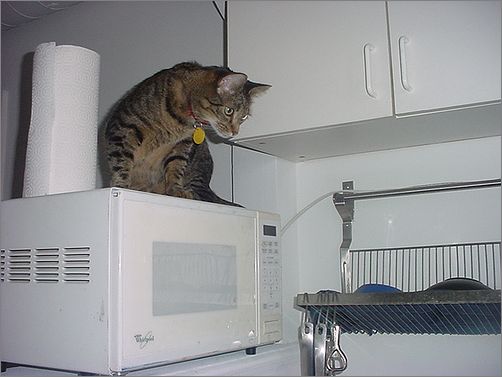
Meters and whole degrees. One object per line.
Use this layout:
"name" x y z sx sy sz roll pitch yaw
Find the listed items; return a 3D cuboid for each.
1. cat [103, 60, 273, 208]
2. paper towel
"cat" -0.308 -0.229 1.865 0.622 0.491 0.411 20 4 23
"paper towel" -0.498 -0.182 1.393 0.176 0.406 0.069 1 -7 -26
